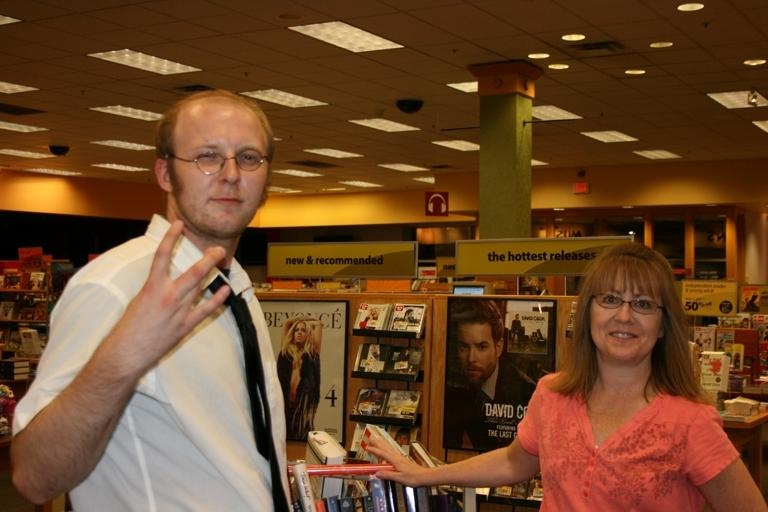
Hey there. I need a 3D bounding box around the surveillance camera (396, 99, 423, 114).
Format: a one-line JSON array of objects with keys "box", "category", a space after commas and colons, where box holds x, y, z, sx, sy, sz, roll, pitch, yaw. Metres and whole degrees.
[{"box": [0.528, -2.836, 10.940, 0.589, 0.232, 0.389, 2, -6, -12], "category": "surveillance camera"}]
